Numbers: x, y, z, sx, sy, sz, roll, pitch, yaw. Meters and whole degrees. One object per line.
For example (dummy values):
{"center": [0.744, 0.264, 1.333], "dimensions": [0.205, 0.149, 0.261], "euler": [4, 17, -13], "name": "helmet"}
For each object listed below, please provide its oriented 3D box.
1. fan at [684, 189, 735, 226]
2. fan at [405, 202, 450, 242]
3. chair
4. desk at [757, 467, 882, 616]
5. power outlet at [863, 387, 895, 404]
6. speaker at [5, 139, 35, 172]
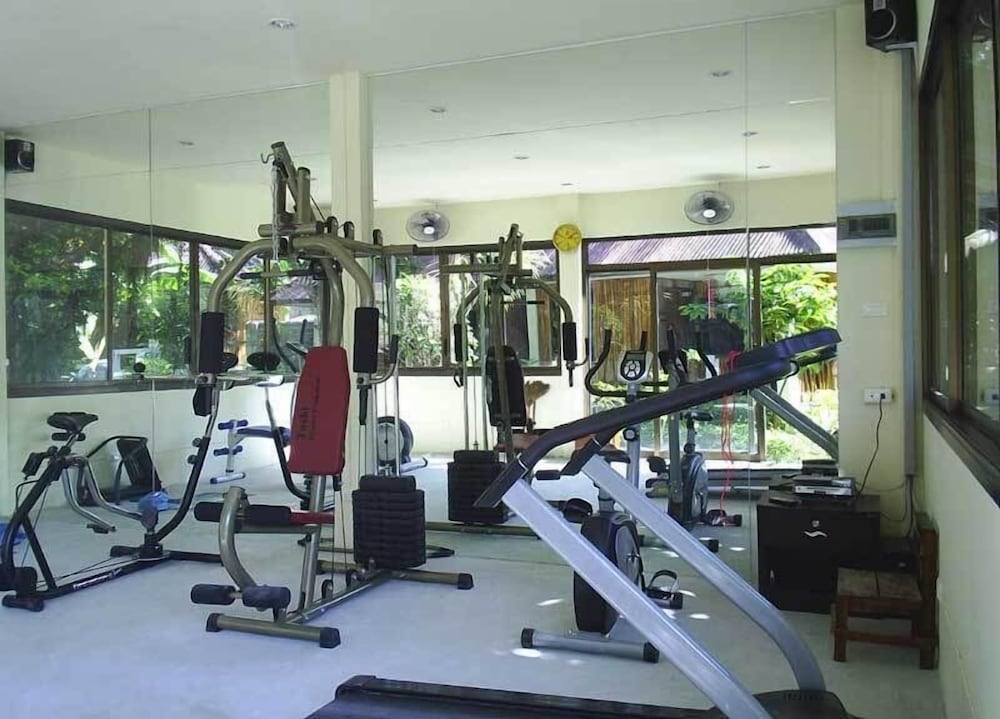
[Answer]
{"center": [1.477, -1.059, 5.993], "dimensions": [0.265, 0.266, 0.097], "euler": [2, -1, 22], "name": "fan"}
{"center": [-0.556, -1.052, 6.679], "dimensions": [0.339, 0.288, 0.049], "euler": [1, 7, 14], "name": "fan"}
{"center": [2.287, 1.351, 5.134], "dimensions": [0.506, 0.737, 1.054], "euler": [-1, -6, 24], "name": "chair"}
{"center": [2.042, 1.123, 5.577], "dimensions": [0.623, 0.799, 0.928], "euler": [0, 2, 19], "name": "desk"}
{"center": [2.481, 0.242, 5.623], "dimensions": [0.193, 0.136, 0.102], "euler": [-1, 1, 20], "name": "power outlet"}
{"center": [-4.397, -1.876, 7.882], "dimensions": [0.357, 0.323, 0.100], "euler": [3, 8, 29], "name": "speaker"}
